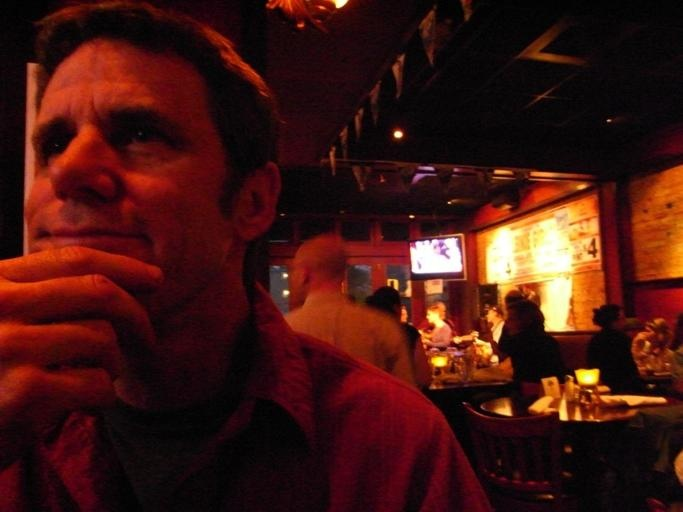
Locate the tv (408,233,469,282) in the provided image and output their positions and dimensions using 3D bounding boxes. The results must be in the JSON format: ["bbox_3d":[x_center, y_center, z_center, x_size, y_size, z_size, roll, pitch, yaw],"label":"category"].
[{"bbox_3d":[1.286,0.033,8.777,1.060,0.624,0.103,-3,1,-34],"label":"tv"}]

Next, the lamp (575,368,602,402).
[{"bbox_3d":[1.284,0.681,3.201,0.102,0.138,0.101,13,16,19],"label":"lamp"}]

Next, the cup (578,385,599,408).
[{"bbox_3d":[1.250,0.718,3.155,0.079,0.082,0.100,0,-12,6],"label":"cup"}]

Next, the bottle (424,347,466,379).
[{"bbox_3d":[0.726,0.738,4.140,0.298,0.239,0.163,2,-7,-8],"label":"bottle"}]
